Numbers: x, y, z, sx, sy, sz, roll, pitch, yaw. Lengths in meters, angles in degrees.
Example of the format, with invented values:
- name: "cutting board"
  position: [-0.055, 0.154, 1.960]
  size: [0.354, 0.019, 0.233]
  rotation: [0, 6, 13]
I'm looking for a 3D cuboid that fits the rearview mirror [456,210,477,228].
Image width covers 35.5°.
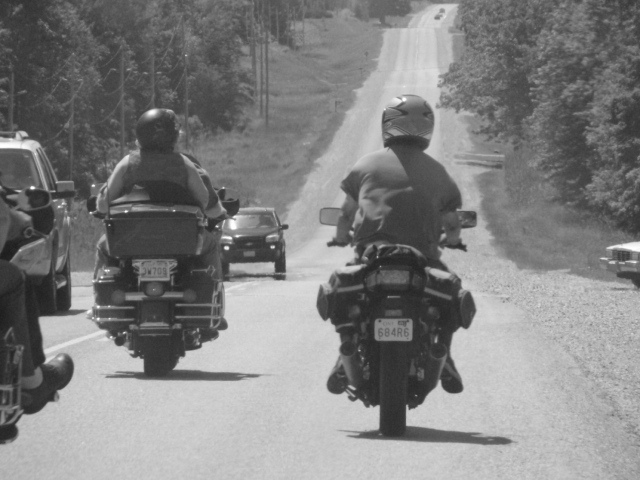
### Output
- name: "rearview mirror"
  position: [1.366, -0.196, 9.296]
  size: [0.205, 0.151, 0.058]
  rotation: [-2, -8, 1]

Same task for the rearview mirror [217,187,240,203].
- name: "rearview mirror"
  position: [-1.102, -0.534, 11.864]
  size: [0.252, 0.176, 0.270]
  rotation: [2, 1, 3]

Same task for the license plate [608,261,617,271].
- name: "license plate"
  position: [7.317, 0.649, 25.097]
  size: [0.173, 0.270, 0.257]
  rotation: [0, 2, 9]

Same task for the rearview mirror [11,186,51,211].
- name: "rearview mirror"
  position: [-2.412, -0.339, 8.472]
  size: [0.174, 0.151, 0.288]
  rotation: [0, -2, -3]

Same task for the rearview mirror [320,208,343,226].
- name: "rearview mirror"
  position: [0.100, -0.214, 9.355]
  size: [0.196, 0.015, 0.152]
  rotation: [-3, 51, -11]

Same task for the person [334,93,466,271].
- name: "person"
  position: [0.716, -0.387, 9.337]
  size: [1.134, 2.023, 1.150]
  rotation: [1, 13, -13]

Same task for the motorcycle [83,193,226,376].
- name: "motorcycle"
  position: [-1.776, 0.390, 10.636]
  size: [0.935, 1.428, 2.309]
  rotation: [-1, 2, 1]

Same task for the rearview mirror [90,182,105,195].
- name: "rearview mirror"
  position: [-2.549, -0.591, 11.373]
  size: [0.108, 0.128, 0.147]
  rotation: [5, -31, -17]

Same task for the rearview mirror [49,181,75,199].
- name: "rearview mirror"
  position: [-3.975, -0.756, 15.414]
  size: [0.360, 0.281, 0.289]
  rotation: [1, 10, -1]

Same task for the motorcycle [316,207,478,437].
- name: "motorcycle"
  position: [0.748, 0.772, 9.214]
  size: [0.912, 1.320, 2.006]
  rotation: [1, -2, 4]
